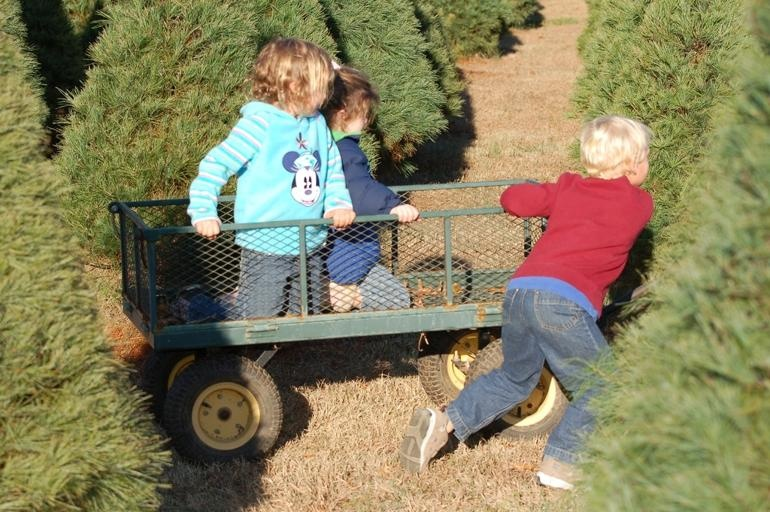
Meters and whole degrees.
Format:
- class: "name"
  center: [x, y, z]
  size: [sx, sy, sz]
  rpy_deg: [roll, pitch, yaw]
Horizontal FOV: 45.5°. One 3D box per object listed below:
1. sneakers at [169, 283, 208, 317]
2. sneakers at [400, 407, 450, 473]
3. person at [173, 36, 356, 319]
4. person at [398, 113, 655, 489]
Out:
- class: "sneakers"
  center: [-1.116, 0.263, 5.164]
  size: [0.117, 0.057, 0.208]
  rpy_deg: [18, 73, -3]
- class: "sneakers"
  center: [0.202, 1.015, 5.105]
  size: [0.196, 0.460, 0.180]
  rpy_deg: [-1, 39, -33]
- class: "person"
  center: [-0.645, -0.223, 5.260]
  size: [0.786, 2.055, 0.626]
  rpy_deg: [-3, 15, -21]
- class: "person"
  center: [0.802, 0.299, 5.049]
  size: [1.000, 1.627, 1.601]
  rpy_deg: [15, 46, 22]
